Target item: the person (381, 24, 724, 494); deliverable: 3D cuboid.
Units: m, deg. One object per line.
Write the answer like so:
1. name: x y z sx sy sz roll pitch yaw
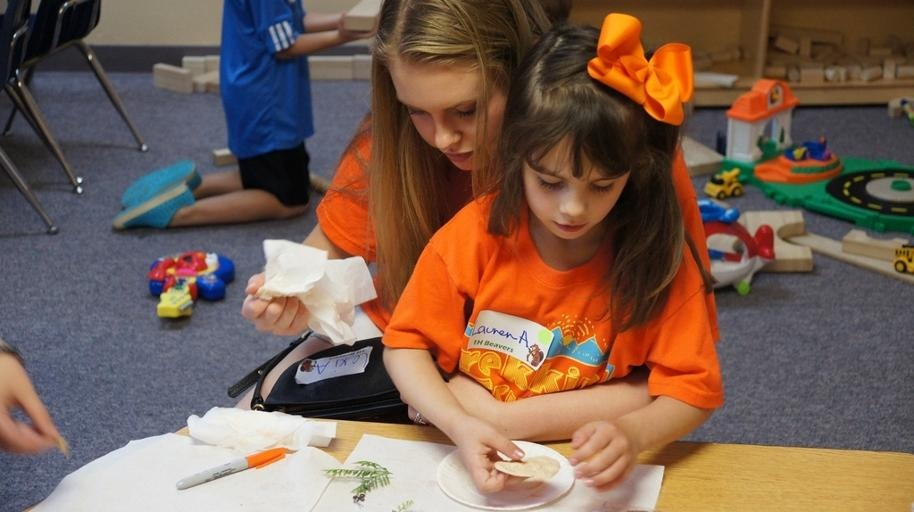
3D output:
1. person: 0.216 -0.012 1.652 0.788 1.057 0.727 4 20 6

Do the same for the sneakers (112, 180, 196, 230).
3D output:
1. sneakers: -1.552 -0.243 3.562 0.398 0.163 0.203 -31 15 4

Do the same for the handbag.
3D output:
1. handbag: -0.344 0.344 1.888 0.272 0.068 0.250 2 38 16

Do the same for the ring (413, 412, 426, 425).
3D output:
1. ring: -0.098 0.425 1.761 0.039 0.029 0.018 26 53 -18

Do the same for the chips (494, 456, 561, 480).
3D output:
1. chips: 0.164 0.483 1.545 0.091 0.019 0.069 -7 13 -16

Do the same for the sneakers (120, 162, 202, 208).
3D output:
1. sneakers: -1.583 -0.392 3.586 0.389 0.119 0.233 -26 20 4

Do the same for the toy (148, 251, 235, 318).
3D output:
1. toy: -1.218 0.129 3.068 0.353 0.144 0.309 -1 35 0

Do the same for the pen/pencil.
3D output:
1. pen/pencil: -0.524 0.499 1.574 0.171 0.025 0.027 -15 34 -20
